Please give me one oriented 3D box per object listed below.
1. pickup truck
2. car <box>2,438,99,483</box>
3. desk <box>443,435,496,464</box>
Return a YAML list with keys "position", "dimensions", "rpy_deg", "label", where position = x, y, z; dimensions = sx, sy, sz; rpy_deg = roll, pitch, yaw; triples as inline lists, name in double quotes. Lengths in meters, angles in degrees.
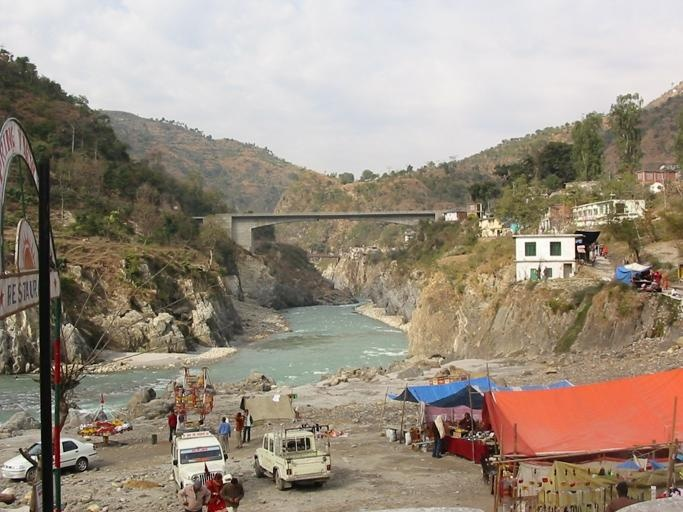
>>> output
- position: [-2.929, 11.309, 50.741]
  dimensions: [3.172, 3.286, 5.688]
  rpy_deg: [0, -2, -29]
  label: "pickup truck"
- position: [-17.143, 12.065, 52.530]
  dimensions: [5.435, 2.228, 2.537]
  rpy_deg: [4, -9, -34]
  label: "car"
- position: [7.518, 11.180, 51.439]
  dimensions: [1.109, 1.663, 4.602]
  rpy_deg: [-1, 1, -22]
  label: "desk"
